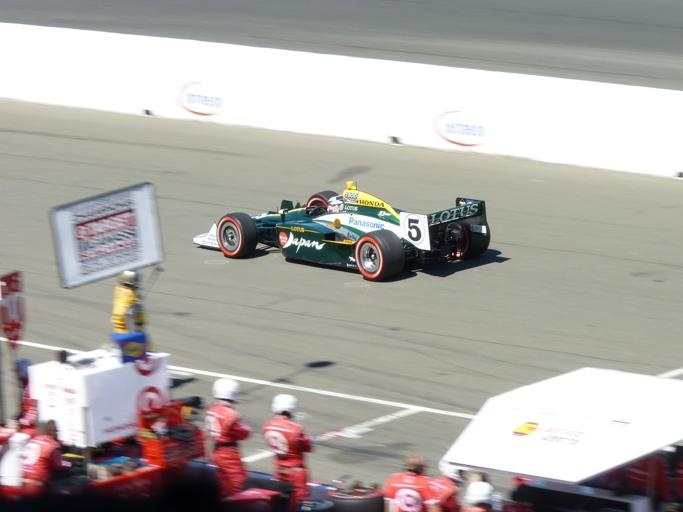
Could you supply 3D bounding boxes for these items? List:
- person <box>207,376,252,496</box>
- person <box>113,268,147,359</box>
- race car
[{"bbox_3d":[-1.680,2.626,20.835,0.638,1.632,0.453,4,5,-1],"label":"person"},{"bbox_3d":[-3.224,0.787,21.701,0.527,1.065,0.433,0,12,-33],"label":"person"},{"bbox_3d":[0.078,-0.607,28.316,5.443,0.870,2.886,9,19,40],"label":"race car"}]
